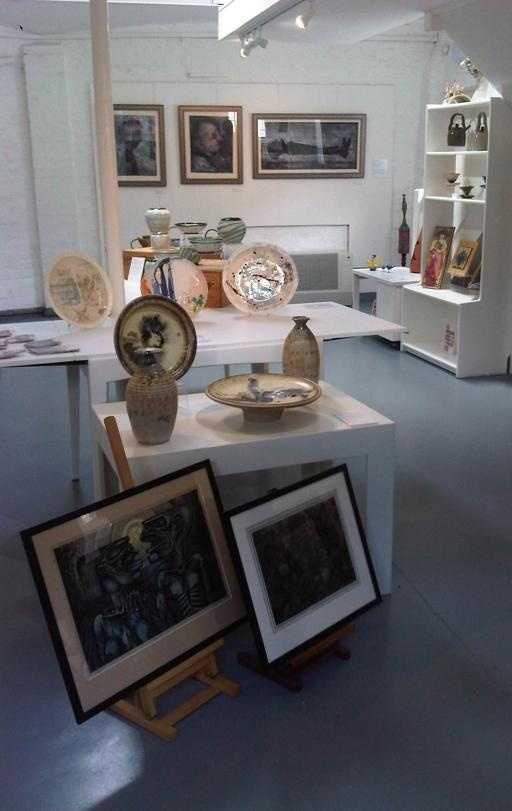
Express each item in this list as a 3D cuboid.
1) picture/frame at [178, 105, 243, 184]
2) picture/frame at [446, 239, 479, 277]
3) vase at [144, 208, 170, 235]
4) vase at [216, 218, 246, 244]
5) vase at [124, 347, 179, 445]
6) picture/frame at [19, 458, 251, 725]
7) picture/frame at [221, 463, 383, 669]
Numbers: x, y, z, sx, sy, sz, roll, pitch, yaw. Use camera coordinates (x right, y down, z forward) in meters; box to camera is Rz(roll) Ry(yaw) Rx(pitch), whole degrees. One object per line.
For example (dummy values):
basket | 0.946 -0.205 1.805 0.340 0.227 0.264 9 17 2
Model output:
picture/frame | -0.594 -3.285 6.982 0.821 1.011 0.069 -4 14 -16
picture/frame | 1.837 -1.313 5.000 0.072 0.339 0.224 22 -6 -36
vase | -0.546 -0.990 3.079 0.149 0.169 0.160 1 37 -2
vase | -0.136 -1.015 3.298 0.158 0.136 0.185 -2 21 0
vase | -0.296 -0.026 1.617 0.135 0.272 0.174 -1 11 -5
picture/frame | -0.280 0.483 1.386 0.025 0.450 0.516 -13 7 42
picture/frame | 0.140 0.477 1.586 0.457 0.459 0.032 -16 0 -41
